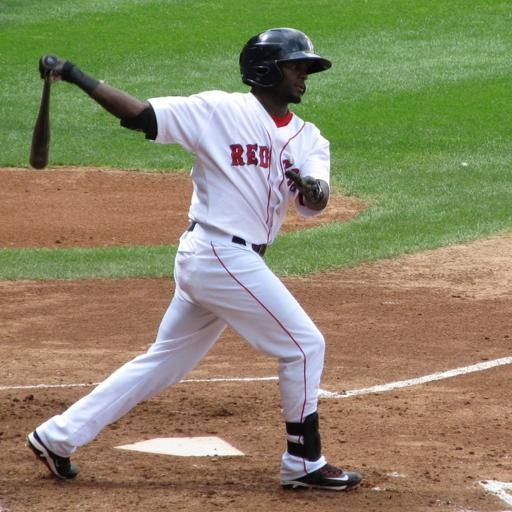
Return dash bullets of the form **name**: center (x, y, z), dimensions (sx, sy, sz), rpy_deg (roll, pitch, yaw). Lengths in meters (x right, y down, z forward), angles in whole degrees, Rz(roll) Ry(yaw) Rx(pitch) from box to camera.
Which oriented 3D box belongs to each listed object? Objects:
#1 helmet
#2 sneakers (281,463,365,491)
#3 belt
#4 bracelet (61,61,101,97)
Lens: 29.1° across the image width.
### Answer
- **helmet**: center (0.174, -1.269, 6.293), dimensions (0.630, 0.263, 0.394), rpy_deg (1, 10, 31)
- **sneakers**: center (0.447, 1.411, 6.318), dimensions (0.588, 0.162, 0.174), rpy_deg (-1, -2, -3)
- **belt**: center (-0.157, -0.067, 6.110), dimensions (0.370, 0.102, 0.277), rpy_deg (17, 2, -24)
- **bracelet**: center (-1.070, -1.079, 5.966), dimensions (0.204, 0.208, 0.320), rpy_deg (-3, 10, -20)
